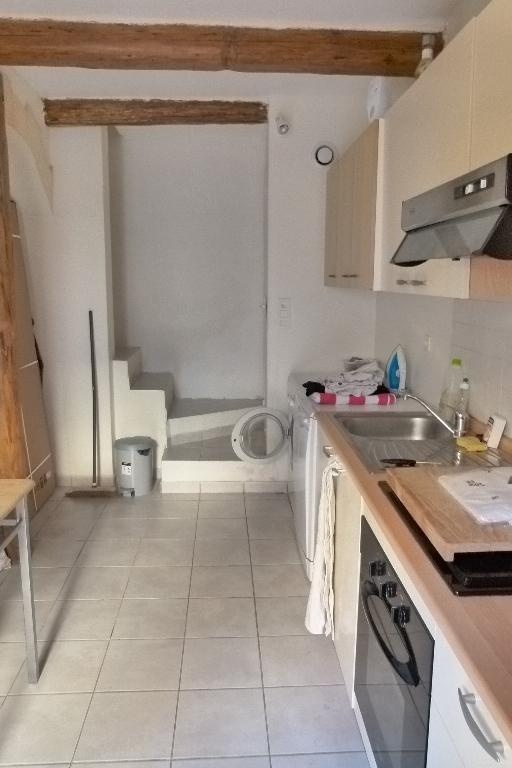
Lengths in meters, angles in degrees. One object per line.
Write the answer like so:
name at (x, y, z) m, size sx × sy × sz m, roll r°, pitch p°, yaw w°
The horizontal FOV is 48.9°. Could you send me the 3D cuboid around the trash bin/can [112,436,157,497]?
trash bin/can at (-0.800, 0.556, 3.869) m, size 0.279 × 0.363 × 0.369 m, roll 0°, pitch -86°, yaw -2°
